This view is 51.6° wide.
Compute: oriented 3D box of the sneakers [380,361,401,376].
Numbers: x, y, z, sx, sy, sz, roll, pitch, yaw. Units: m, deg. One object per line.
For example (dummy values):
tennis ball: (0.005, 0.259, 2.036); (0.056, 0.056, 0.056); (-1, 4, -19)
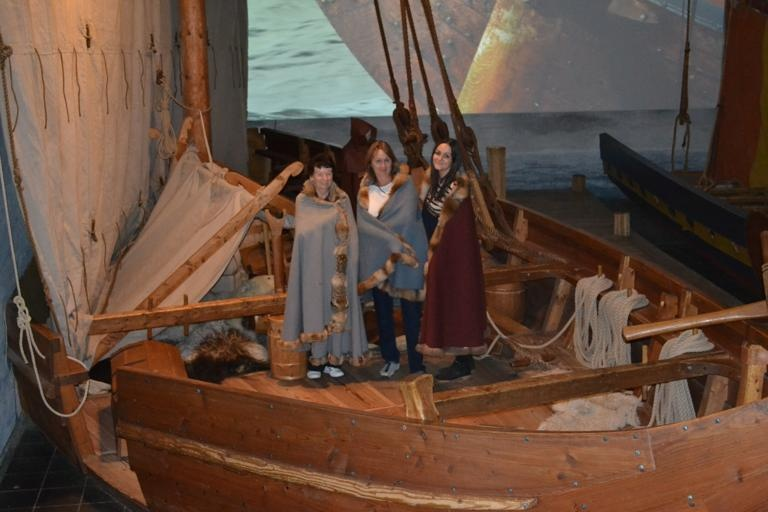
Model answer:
sneakers: (0.043, 1.044, 7.243); (0.096, 0.076, 0.180); (1, 4, 25)

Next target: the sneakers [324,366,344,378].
sneakers: (-0.441, 1.062, 7.271); (0.145, 0.054, 0.100); (8, 12, 33)

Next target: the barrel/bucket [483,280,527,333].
barrel/bucket: (1.506, 0.593, 9.167); (0.531, 0.572, 0.527); (-1, 9, 0)
